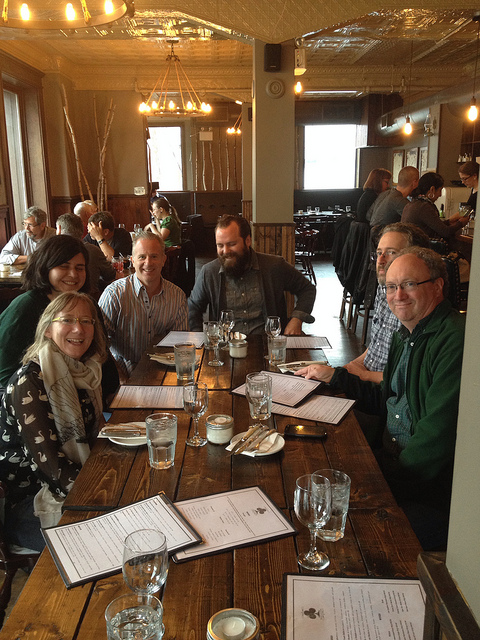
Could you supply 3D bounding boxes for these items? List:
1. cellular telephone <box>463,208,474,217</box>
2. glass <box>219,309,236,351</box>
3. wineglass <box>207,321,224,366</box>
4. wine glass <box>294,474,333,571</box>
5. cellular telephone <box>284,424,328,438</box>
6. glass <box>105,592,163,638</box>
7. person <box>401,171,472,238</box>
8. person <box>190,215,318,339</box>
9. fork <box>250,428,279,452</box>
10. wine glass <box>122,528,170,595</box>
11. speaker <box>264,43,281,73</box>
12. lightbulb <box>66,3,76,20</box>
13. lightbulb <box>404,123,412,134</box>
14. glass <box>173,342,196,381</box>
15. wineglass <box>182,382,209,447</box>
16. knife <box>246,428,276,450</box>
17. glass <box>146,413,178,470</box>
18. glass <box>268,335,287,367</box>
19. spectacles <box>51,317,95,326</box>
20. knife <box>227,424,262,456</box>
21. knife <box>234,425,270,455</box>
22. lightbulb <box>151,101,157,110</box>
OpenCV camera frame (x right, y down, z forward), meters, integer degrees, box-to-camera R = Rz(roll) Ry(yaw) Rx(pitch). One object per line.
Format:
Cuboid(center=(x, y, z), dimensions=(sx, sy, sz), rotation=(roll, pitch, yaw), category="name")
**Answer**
Cuboid(center=(2.819, -1.308, 5.549), dimensions=(0.041, 0.055, 0.213), rotation=(40, 52, 2), category="cellular telephone")
Cuboid(center=(-0.064, 0.050, 2.490), dimensions=(0.083, 0.199, 0.083), rotation=(5, -1, 20), category="glass")
Cuboid(center=(-0.124, 0.108, 2.324), dimensions=(0.080, 0.198, 0.254), rotation=(-1, 9, -4), category="wineglass")
Cuboid(center=(0.151, 0.404, 0.928), dimensions=(0.073, 0.138, 0.162), rotation=(1, 9, 9), category="wine glass")
Cuboid(center=(0.221, 0.366, 1.518), dimensions=(0.139, 0.013, 0.097), rotation=(1, 9, 6), category="cellular telephone")
Cuboid(center=(-0.156, 0.448, 0.690), dimensions=(0.072, 0.047, 0.078), rotation=(0, 4, 1), category="glass")
Cuboid(center=(2.526, -1.419, 5.640), dimensions=(0.667, 0.830, 1.462), rotation=(7, 11, 36), category="person")
Cuboid(center=(0.093, -0.312, 3.167), dimensions=(0.909, 0.793, 0.588), rotation=(0, 9, 3), category="person")
Cuboid(center=(0.081, 0.364, 1.410), dimensions=(0.028, 0.025, 0.182), rotation=(8, 16, 17), category="fork")
Cuboid(center=(-0.163, 0.420, 0.808), dimensions=(0.072, 0.126, 0.151), rotation=(-2, 9, -9), category="wine glass")
Cuboid(center=(0.342, -2.703, 4.685), dimensions=(0.163, 0.250, 0.103), rotation=(-1, 9, -5), category="speaker")
Cuboid(center=(-0.984, -1.778, 2.631), dimensions=(0.052, 0.066, 0.108), rotation=(-3, 9, -18), category="lightbulb")
Cuboid(center=(3.117, -3.520, 8.361), dimensions=(0.109, 0.222, 0.420), rotation=(3, 9, 20), category="lightbulb")
Cuboid(center=(-0.244, 0.183, 2.014), dimensions=(0.082, 0.149, 0.109), rotation=(-1, 9, -7), category="glass")
Cuboid(center=(-0.148, 0.290, 1.538), dimensions=(0.078, 0.170, 0.275), rotation=(-1, 9, -7), category="wineglass")
Cuboid(center=(0.069, 0.353, 1.396), dimensions=(0.030, 0.026, 0.221), rotation=(15, 11, 15), category="knife")
Cuboid(center=(-0.227, 0.352, 1.317), dimensions=(0.091, 0.133, 0.093), rotation=(-4, -3, 37), category="glass")
Cuboid(center=(0.179, 0.151, 2.175), dimensions=(0.132, 0.183, 0.127), rotation=(0, 6, 1), category="glass")
Cuboid(center=(-0.655, 0.007, 1.767), dimensions=(0.150, 0.042, 0.043), rotation=(-4, 10, -23), category="spectacles")
Cuboid(center=(0.018, 0.368, 1.396), dimensions=(0.031, 0.010, 0.231), rotation=(17, 23, 19), category="knife")
Cuboid(center=(0.037, 0.366, 1.401), dimensions=(0.036, 0.012, 0.173), rotation=(10, 20, 22), category="knife")
Cuboid(center=(-1.380, -3.469, 7.346), dimensions=(0.092, 0.125, 0.094), rotation=(0, 13, -1), category="lightbulb")
